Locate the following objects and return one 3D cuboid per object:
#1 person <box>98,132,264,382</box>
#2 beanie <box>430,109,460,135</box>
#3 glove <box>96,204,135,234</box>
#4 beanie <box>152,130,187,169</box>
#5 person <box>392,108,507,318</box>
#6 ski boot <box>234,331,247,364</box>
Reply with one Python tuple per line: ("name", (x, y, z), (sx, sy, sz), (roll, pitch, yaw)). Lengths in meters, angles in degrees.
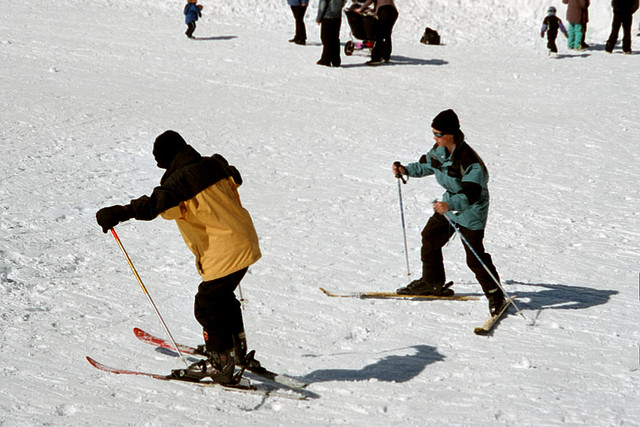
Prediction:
("person", (-1.566, 0.587, 12.101), (1.569, 3.116, 0.678), (7, 19, 6))
("beanie", (1.773, -1.252, 13.148), (0.462, 0.334, 0.341), (-2, 17, 27))
("glove", (-2.520, 0.051, 11.730), (0.460, 0.363, 0.205), (1, 19, -12))
("beanie", (-1.914, -0.836, 12.121), (0.447, 0.507, 0.545), (0, -11, -3))
("person", (1.903, -0.040, 13.403), (1.254, 2.795, 1.484), (-2, 20, -20))
("ski boot", (-1.025, 1.721, 12.240), (0.191, 0.443, 0.087), (-8, 22, -32))
